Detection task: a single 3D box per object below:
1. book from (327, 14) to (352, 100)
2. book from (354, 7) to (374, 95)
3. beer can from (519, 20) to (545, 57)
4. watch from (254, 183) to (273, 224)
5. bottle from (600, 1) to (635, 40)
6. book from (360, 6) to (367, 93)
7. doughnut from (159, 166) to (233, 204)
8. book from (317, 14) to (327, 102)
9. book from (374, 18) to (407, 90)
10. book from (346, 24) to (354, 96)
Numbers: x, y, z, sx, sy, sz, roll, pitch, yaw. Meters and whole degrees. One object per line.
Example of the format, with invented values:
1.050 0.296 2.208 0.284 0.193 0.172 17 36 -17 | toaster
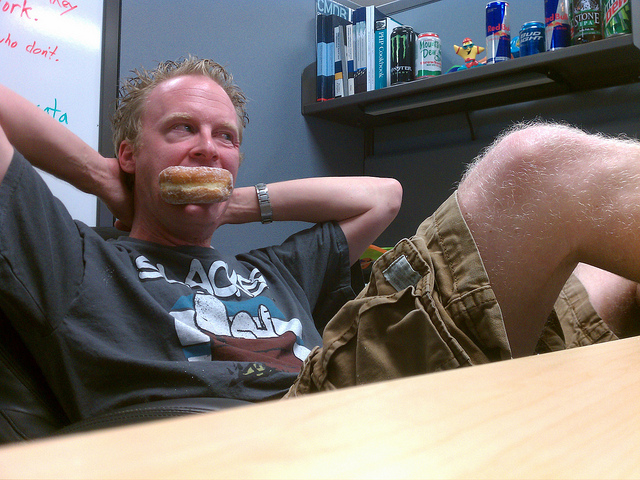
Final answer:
0.066 -0.634 2.220 0.043 0.375 0.304 -1 1 14 | book
0.138 -0.652 2.151 0.048 0.235 0.212 1 6 11 | book
0.610 -0.580 1.813 0.066 0.095 0.044 1 6 17 | beer can
-0.133 -0.087 1.482 0.034 0.095 0.085 -5 1 -6 | watch
0.783 -0.582 1.650 0.045 0.112 0.106 -3 6 -21 | bottle
0.147 -0.651 2.143 0.022 0.291 0.076 -1 5 4 | book
-0.253 -0.114 1.294 0.147 0.078 0.061 -2 6 -11 | doughnut
0.007 -0.651 2.240 0.036 0.304 0.054 -1 5 4 | book
0.230 -0.603 2.066 0.032 0.347 0.245 0 0 22 | book
0.105 -0.628 2.189 0.025 0.242 0.071 -1 5 2 | book
